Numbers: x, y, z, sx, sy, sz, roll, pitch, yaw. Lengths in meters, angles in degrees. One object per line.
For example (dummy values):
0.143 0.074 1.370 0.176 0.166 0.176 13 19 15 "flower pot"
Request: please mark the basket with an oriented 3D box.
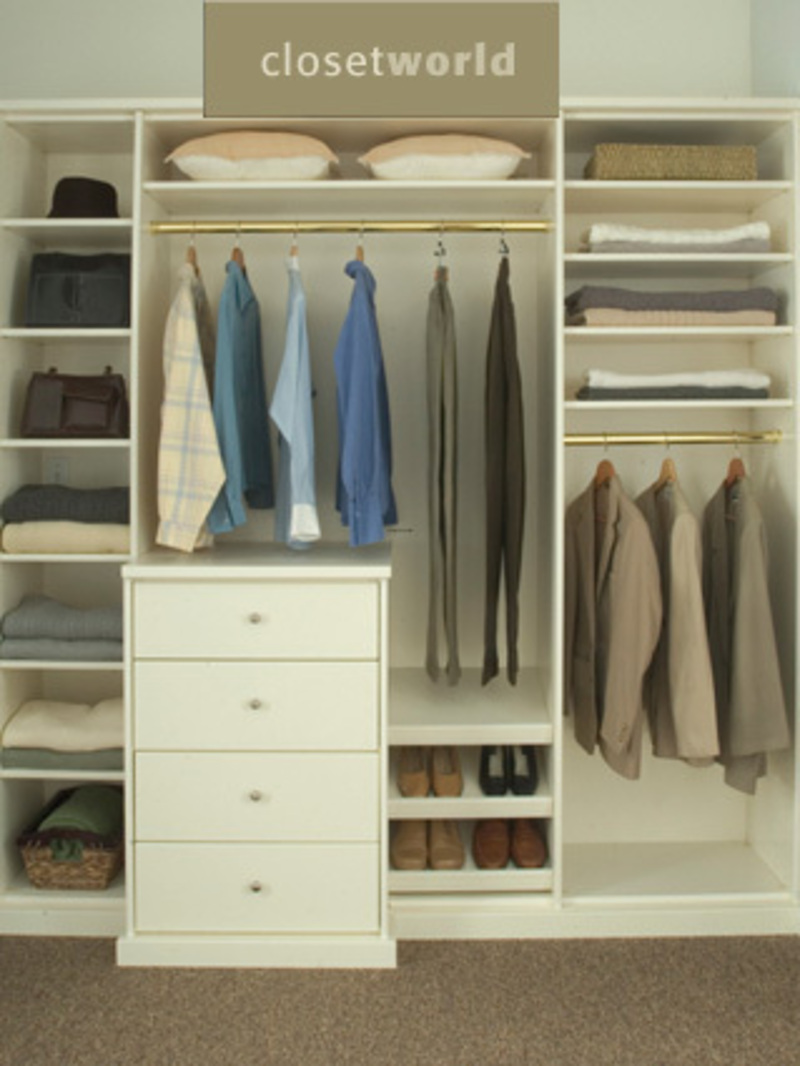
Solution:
-0.823 0.792 2.985 0.147 0.121 0.278 1 -1 -2 "basket"
